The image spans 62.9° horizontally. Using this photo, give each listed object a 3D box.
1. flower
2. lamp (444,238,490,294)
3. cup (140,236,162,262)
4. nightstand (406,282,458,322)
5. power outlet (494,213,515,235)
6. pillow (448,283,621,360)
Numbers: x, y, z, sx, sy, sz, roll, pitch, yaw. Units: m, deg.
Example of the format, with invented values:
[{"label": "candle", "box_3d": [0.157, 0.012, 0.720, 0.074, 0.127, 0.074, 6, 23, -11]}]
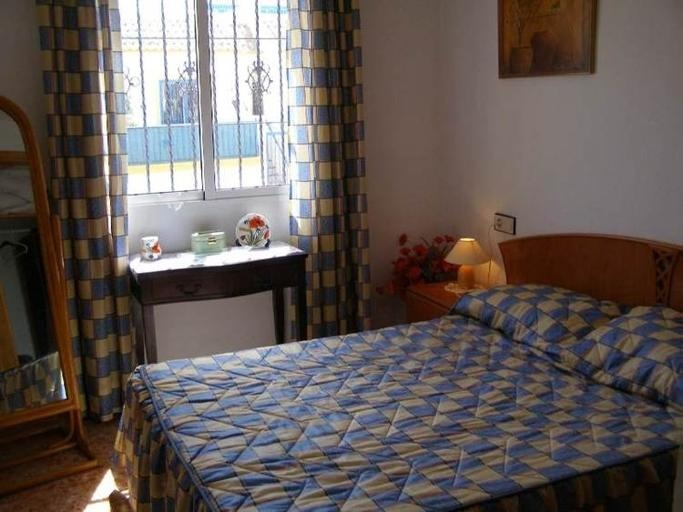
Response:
[{"label": "flower", "box_3d": [0.567, 0.052, 4.154, 0.506, 0.431, 0.454, -25, -2, 41]}, {"label": "lamp", "box_3d": [0.776, 0.018, 3.793, 0.321, 0.373, 0.339, -4, 15, -10]}, {"label": "cup", "box_3d": [-1.195, -0.050, 3.511, 0.131, 0.210, 0.135, 0, 7, 0]}, {"label": "nightstand", "box_3d": [0.607, 0.300, 3.736, 0.240, 0.298, 0.304, -8, 14, -28]}, {"label": "power outlet", "box_3d": [1.079, -0.217, 3.688, 0.017, 0.093, 0.127, -6, 14, -22]}, {"label": "pillow", "box_3d": [0.987, 0.301, 2.905, 0.390, 0.115, 0.441, -15, 11, -26]}]
